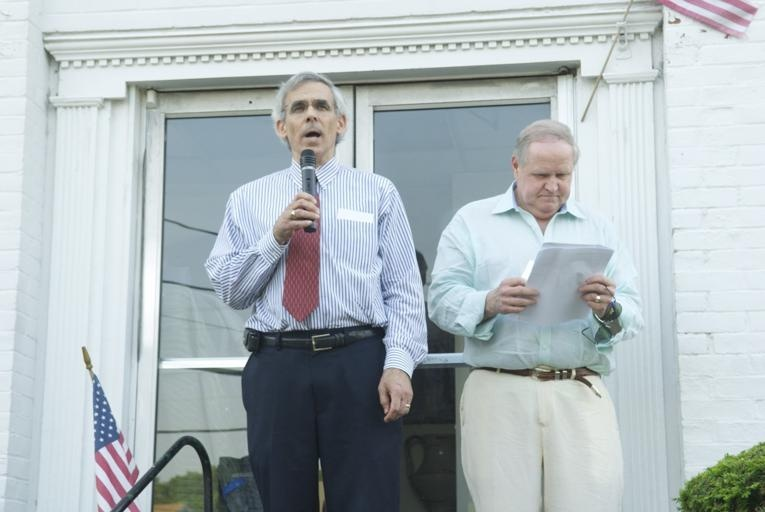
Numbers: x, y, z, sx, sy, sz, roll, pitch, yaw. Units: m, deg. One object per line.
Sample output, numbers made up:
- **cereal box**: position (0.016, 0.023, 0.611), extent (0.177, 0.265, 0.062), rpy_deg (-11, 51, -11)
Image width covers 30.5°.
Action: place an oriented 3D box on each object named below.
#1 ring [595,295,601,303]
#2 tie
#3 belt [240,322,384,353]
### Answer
- **ring**: position (1.023, 0.200, 6.657), extent (0.023, 0.023, 0.041), rpy_deg (11, 8, 4)
- **tie**: position (-0.397, 0.035, 6.782), extent (0.177, 0.784, 0.020), rpy_deg (-5, -47, 4)
- **belt**: position (-0.335, 0.394, 6.738), extent (0.673, 0.120, 0.167), rpy_deg (0, -4, -5)
